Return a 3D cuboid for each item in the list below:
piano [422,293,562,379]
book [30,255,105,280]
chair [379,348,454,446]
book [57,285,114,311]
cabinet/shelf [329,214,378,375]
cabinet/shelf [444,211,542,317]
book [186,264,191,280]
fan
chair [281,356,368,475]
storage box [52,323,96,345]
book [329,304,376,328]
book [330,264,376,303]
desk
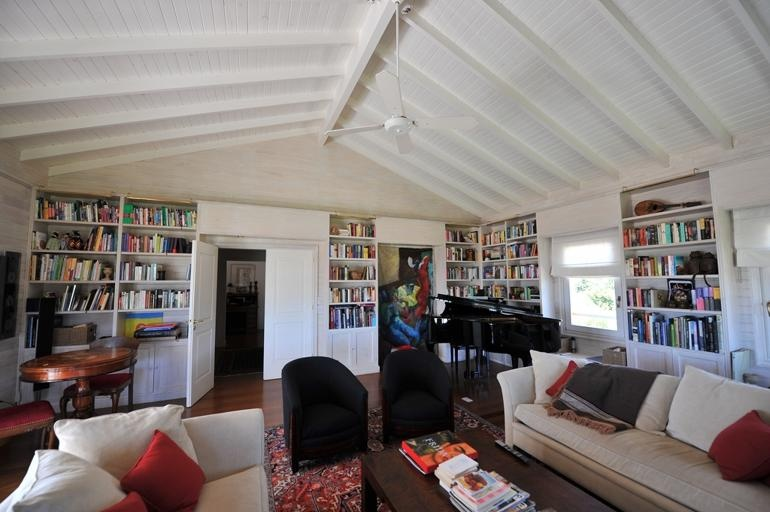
[{"bbox_3d":[1.844,1.419,7.815,2.230,1.294,1.624,4,-8,19],"label":"piano"},{"bbox_3d":[-4.797,0.179,7.030,0.980,0.349,0.894,2,1,-30],"label":"book"},{"bbox_3d":[0.393,1.921,6.310,1.120,1.053,1.161,0,1,-38],"label":"chair"},{"bbox_3d":[-4.590,0.654,7.107,0.706,0.387,0.304,4,-7,-32],"label":"book"},{"bbox_3d":[-0.625,1.030,8.724,0.967,2.459,0.273,-2,15,-7],"label":"cabinet/shelf"},{"bbox_3d":[2.183,0.172,9.189,1.052,1.841,1.908,5,-6,-40],"label":"cabinet/shelf"},{"bbox_3d":[-3.287,0.279,7.708,0.087,0.248,0.259,-1,-2,-29],"label":"book"},{"bbox_3d":[0.041,-2.273,6.212,1.607,1.757,1.940,3,-7,-26],"label":"fan"},{"bbox_3d":[-0.866,1.980,5.968,1.121,1.031,1.023,-3,5,-43],"label":"chair"},{"bbox_3d":[-4.682,1.151,6.995,0.354,0.207,0.344,0,0,-19],"label":"storage box"},{"bbox_3d":[-0.643,1.140,8.665,0.509,0.451,0.191,-1,1,-12],"label":"book"},{"bbox_3d":[-0.626,0.537,8.800,0.746,0.605,0.235,2,-8,-23],"label":"book"},{"bbox_3d":[-3.996,1.752,6.051,1.153,0.836,1.201,-3,3,-18],"label":"desk"}]
